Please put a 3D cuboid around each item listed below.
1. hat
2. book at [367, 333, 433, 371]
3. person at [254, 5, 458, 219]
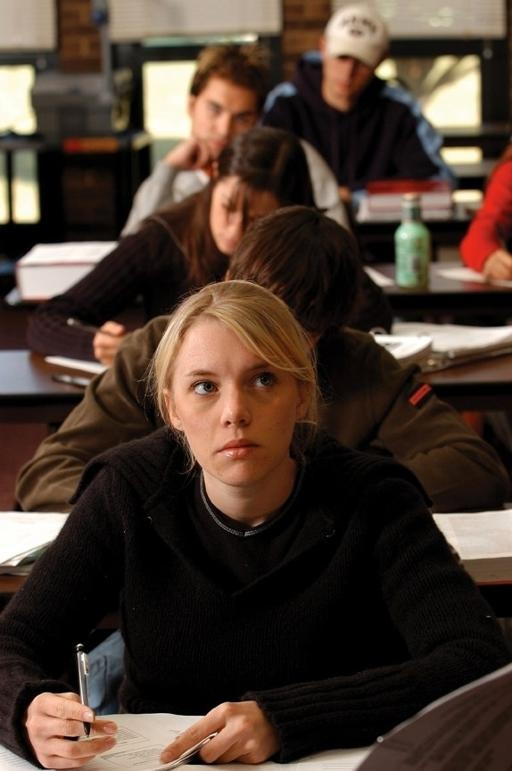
[{"bbox_3d":[0.387,-1.335,2.887,0.221,0.214,0.283,7,-10,6],"label":"hat"},{"bbox_3d":[0.304,-0.078,1.507,0.108,0.035,0.103,-5,13,-36],"label":"book"},{"bbox_3d":[0.367,-1.195,3.108,0.743,0.723,0.872,-7,36,-4],"label":"person"}]
